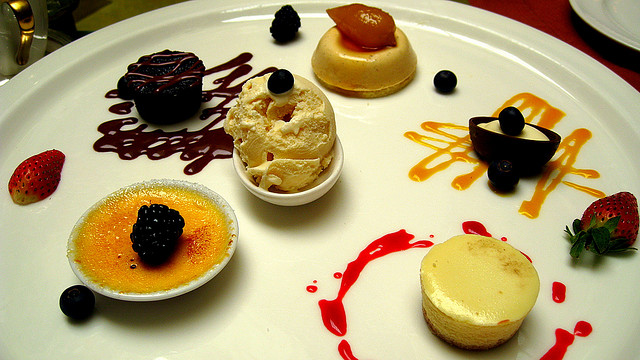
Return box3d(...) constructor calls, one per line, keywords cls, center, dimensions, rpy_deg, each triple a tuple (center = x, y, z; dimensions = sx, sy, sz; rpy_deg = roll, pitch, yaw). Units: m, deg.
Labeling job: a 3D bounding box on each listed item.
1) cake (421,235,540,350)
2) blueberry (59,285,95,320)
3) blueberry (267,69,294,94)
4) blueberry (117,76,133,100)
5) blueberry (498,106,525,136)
box3d(cls="cake", center=(1.126, 0.814, 3.905), dimensions=(0.819, 0.268, 0.808), rpy_deg=(11, 80, 3))
box3d(cls="blueberry", center=(-1.792, 0.902, 3.978), dimensions=(0.236, 0.089, 0.241), rpy_deg=(5, 80, 2))
box3d(cls="blueberry", center=(-0.311, -0.760, 4.187), dimensions=(0.211, 0.075, 0.170), rpy_deg=(-17, 80, -2))
box3d(cls="blueberry", center=(-1.781, -0.836, 4.946), dimensions=(0.150, 0.132, 0.142), rpy_deg=(-19, 54, -25))
box3d(cls="blueberry", center=(1.590, -0.527, 4.554), dimensions=(0.254, 0.259, 0.134), rpy_deg=(-7, 94, 11))
